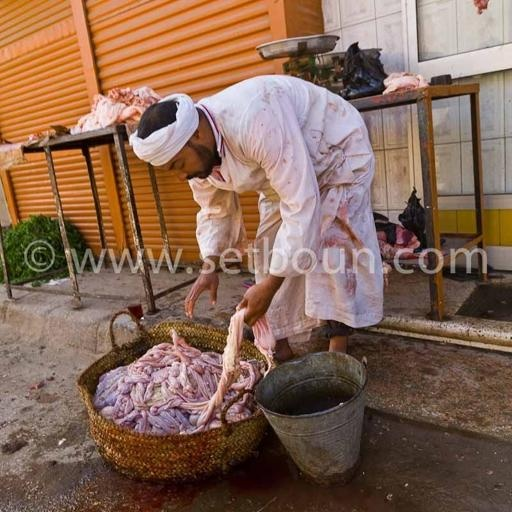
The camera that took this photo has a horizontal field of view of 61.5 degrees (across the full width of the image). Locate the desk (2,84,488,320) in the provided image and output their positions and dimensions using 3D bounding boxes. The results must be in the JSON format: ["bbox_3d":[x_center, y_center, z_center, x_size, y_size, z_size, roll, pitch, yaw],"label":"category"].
[{"bbox_3d":[-0.084,-0.403,3.537,1.572,2.878,1.626,4,17,38],"label":"desk"}]

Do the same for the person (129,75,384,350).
[{"bbox_3d":[0.086,-0.050,2.364,1.158,1.784,1.047,-3,13,17],"label":"person"}]
